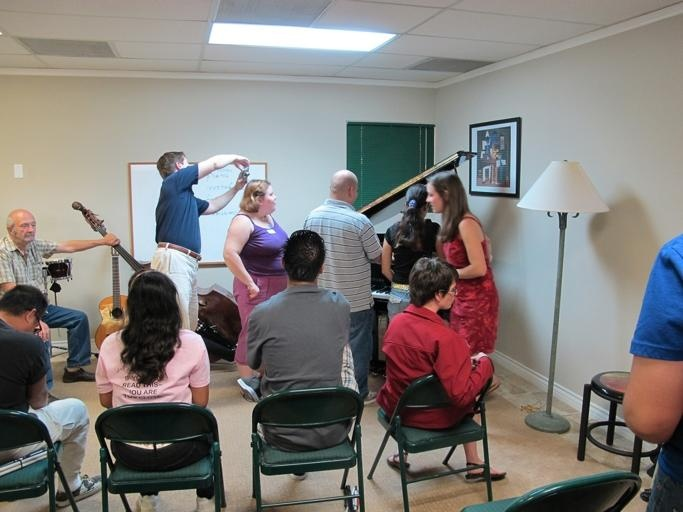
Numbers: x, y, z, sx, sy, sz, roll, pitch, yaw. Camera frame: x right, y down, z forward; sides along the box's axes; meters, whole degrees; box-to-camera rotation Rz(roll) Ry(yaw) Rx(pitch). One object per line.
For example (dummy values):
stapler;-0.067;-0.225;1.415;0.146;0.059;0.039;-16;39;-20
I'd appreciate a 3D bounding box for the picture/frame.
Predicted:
picture/frame;1.443;-0.920;5.242;0.041;0.968;0.817;0;1;-26

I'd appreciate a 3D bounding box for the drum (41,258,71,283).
drum;-2.612;0.131;5.180;0.227;0.196;0.232;-2;-4;-15

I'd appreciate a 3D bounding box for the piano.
piano;0.624;0.067;5.556;1.067;2.114;1.755;3;-2;-13

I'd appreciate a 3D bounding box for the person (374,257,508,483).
person;0.566;0.748;3.303;0.666;1.457;0.560;0;7;-5

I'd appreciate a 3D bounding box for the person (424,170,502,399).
person;0.892;0.217;4.516;0.725;1.713;0.555;-5;15;-3

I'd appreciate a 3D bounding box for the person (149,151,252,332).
person;-1.103;0.132;4.396;0.721;1.951;0.545;3;-12;-20

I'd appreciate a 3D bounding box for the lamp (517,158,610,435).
lamp;1.652;0.283;4.233;0.571;2.029;0.592;6;9;40

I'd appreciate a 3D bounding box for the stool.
stool;1.832;1.128;3.723;0.450;0.556;0.456;3;7;0
